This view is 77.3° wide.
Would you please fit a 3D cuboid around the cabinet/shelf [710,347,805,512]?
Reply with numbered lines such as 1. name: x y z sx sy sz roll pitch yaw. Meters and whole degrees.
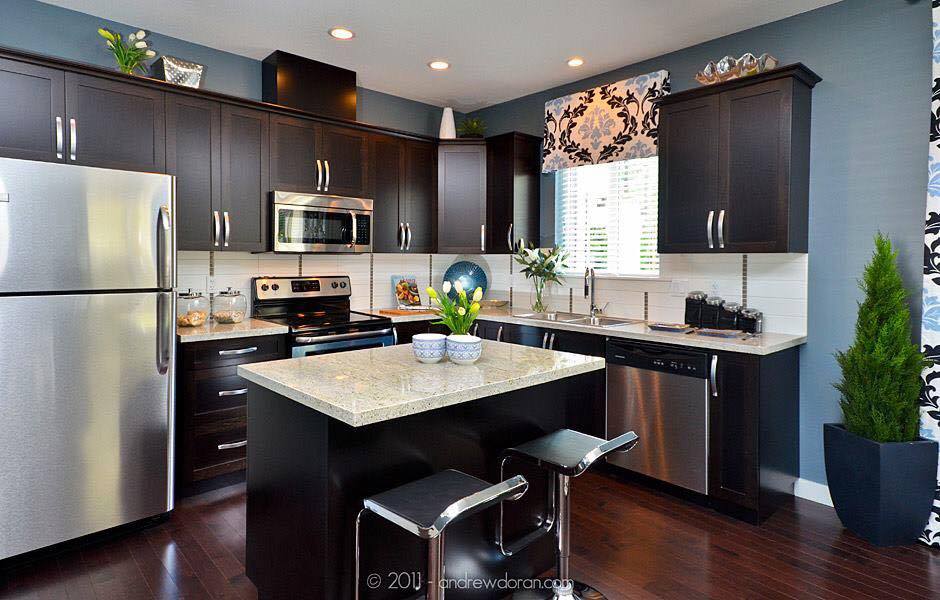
1. cabinet/shelf: 2.148 0.958 4.330 0.781 1.183 0.323 -4 6 -25

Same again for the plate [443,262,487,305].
1. plate: -0.037 -0.217 6.358 0.418 0.417 0.417 -6 7 -41

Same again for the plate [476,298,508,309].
1. plate: 0.246 0.044 6.161 0.287 0.079 0.369 0 5 16

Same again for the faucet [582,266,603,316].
1. faucet: 1.144 -0.077 5.430 0.136 0.429 0.355 0 5 13

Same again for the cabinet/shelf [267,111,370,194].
1. cabinet/shelf: -1.371 -1.298 5.181 0.925 0.625 0.338 0 0 -35

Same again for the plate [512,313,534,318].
1. plate: 0.512 0.145 5.544 0.190 0.010 0.397 -1 5 5

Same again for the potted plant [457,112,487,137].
1. potted plant: 0.011 -1.819 6.157 0.353 0.293 0.340 0 -2 -6

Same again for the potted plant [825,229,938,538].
1. potted plant: 2.796 0.609 3.980 0.663 2.057 0.373 2 6 29
